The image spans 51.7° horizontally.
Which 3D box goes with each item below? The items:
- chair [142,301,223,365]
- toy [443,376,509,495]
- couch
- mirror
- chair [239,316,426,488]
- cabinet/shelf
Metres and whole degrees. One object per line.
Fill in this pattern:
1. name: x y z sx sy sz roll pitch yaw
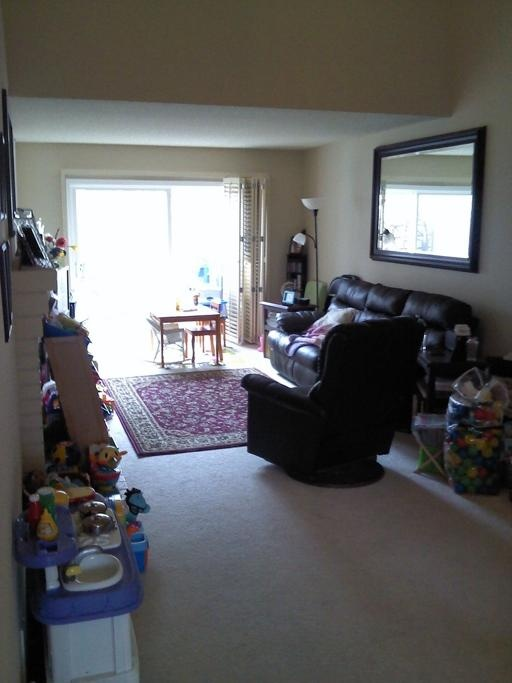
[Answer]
1. chair: -0.902 -0.084 6.658 0.935 0.689 1.224 -1 8 -12
2. toy: 1.334 0.562 3.233 0.344 0.747 0.272 3 8 20
3. couch: 0.937 0.005 5.179 1.120 1.177 2.439 -2 10 -15
4. mirror: 1.573 -1.273 4.852 1.666 1.173 0.074 -6 13 -37
5. chair: 0.517 0.369 3.591 0.995 1.033 1.115 -4 6 -17
6. cabinet/shelf: -1.045 0.304 3.008 0.239 0.674 0.161 -8 -21 -29
